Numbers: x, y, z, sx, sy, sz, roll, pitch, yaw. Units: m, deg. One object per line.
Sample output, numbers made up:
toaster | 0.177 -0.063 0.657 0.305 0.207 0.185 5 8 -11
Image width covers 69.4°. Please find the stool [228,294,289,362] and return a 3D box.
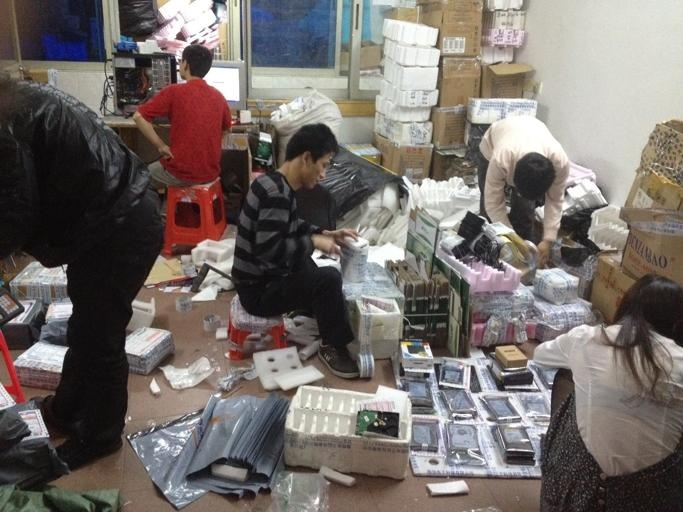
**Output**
stool | -0.535 0.404 3.089 0.344 0.324 0.367 -4 16 -21

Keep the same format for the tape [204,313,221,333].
tape | -0.886 0.451 3.367 0.117 0.083 0.125 -5 20 -14

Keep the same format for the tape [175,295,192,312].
tape | -1.139 0.331 3.559 0.090 0.076 0.094 -10 26 -28

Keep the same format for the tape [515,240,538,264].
tape | 1.270 -0.032 3.415 0.035 0.158 0.153 -17 21 46

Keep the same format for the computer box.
computer box | -1.986 -1.836 4.884 0.606 0.636 0.371 -16 58 -33

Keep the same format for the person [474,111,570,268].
person | 1.477 -0.342 4.090 0.491 1.551 1.115 -6 53 9

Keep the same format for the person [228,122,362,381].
person | -0.273 -0.053 3.004 0.786 1.440 0.543 1 18 2

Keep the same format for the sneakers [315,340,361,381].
sneakers | -0.021 0.614 3.015 0.117 0.125 0.288 -22 42 -39

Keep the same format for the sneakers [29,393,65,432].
sneakers | -1.416 0.760 2.377 0.059 0.130 0.190 -12 68 -30
